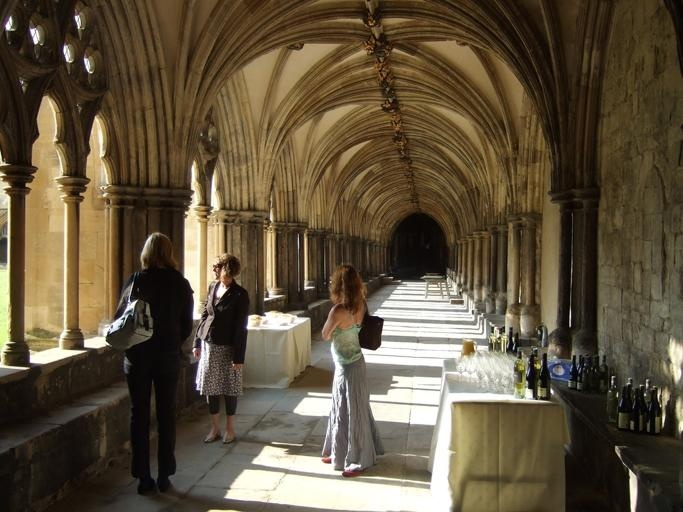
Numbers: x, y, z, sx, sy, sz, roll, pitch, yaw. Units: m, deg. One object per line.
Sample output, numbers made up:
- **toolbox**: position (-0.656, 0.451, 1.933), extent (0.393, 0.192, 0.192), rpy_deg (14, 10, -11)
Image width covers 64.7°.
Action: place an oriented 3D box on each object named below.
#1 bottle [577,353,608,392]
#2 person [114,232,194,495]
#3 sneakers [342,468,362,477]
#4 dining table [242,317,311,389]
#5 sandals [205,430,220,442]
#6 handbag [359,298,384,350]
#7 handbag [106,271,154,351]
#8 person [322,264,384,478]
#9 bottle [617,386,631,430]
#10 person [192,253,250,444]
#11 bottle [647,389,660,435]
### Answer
- **bottle**: position (2.325, 1.064, 4.944), extent (0.318, 0.325, 0.254), rpy_deg (2, 0, 12)
- **person**: position (-1.461, 0.848, 4.201), extent (0.562, 1.877, 0.275), rpy_deg (2, -1, -26)
- **sneakers**: position (0.096, 1.836, 4.555), extent (0.164, 0.076, 0.061), rpy_deg (8, -12, -23)
- **dining table**: position (-0.959, 1.117, 7.707), extent (0.679, 0.686, 1.278), rpy_deg (1, 2, 5)
- **sandals**: position (-1.266, 1.792, 5.365), extent (0.061, 0.088, 0.193), rpy_deg (-3, -16, 28)
- **handbag**: position (0.293, 0.622, 4.710), extent (0.121, 0.340, 0.275), rpy_deg (-7, 13, -1)
- **handbag**: position (-1.615, 0.382, 4.103), extent (0.292, 0.573, 0.375), rpy_deg (3, 4, -43)
- **person**: position (0.079, 0.965, 4.599), extent (0.494, 1.262, 0.299), rpy_deg (2, -1, -8)
- **bottle**: position (2.115, 1.114, 4.015), extent (0.092, 0.348, 0.174), rpy_deg (1, -1, 29)
- **person**: position (-1.165, 0.906, 5.252), extent (0.597, 1.556, 0.361), rpy_deg (1, -1, 35)
- **bottle**: position (2.328, 1.135, 4.003), extent (0.077, 0.353, 0.252), rpy_deg (1, -1, 38)
